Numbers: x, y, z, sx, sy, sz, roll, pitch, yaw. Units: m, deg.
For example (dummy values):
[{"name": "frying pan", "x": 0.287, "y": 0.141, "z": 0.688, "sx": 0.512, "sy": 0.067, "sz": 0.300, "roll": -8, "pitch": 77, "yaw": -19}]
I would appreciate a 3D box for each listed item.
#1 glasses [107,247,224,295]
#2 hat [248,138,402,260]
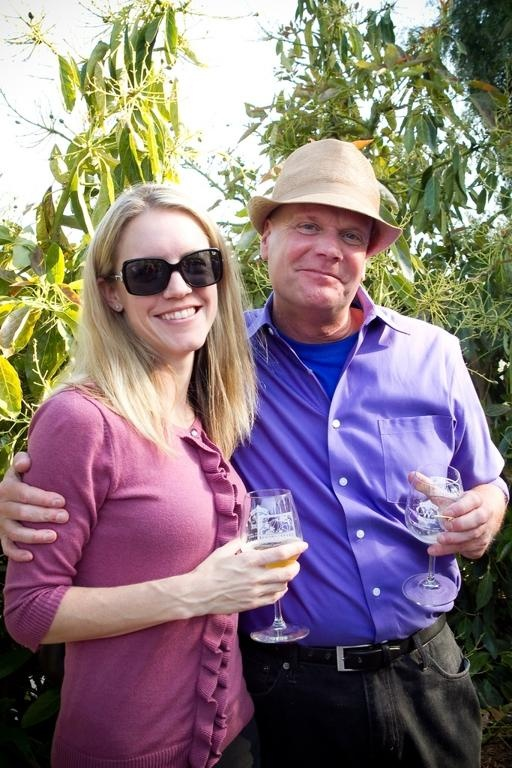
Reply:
[{"name": "glasses", "x": -0.233, "y": -0.303, "z": 1.754, "sx": 0.194, "sy": 0.067, "sz": 0.211, "roll": -7, "pitch": 5, "yaw": -31}, {"name": "hat", "x": 0.281, "y": -0.745, "z": 2.481, "sx": 0.447, "sy": 0.234, "sz": 0.469, "roll": 9, "pitch": -25, "yaw": 0}]
